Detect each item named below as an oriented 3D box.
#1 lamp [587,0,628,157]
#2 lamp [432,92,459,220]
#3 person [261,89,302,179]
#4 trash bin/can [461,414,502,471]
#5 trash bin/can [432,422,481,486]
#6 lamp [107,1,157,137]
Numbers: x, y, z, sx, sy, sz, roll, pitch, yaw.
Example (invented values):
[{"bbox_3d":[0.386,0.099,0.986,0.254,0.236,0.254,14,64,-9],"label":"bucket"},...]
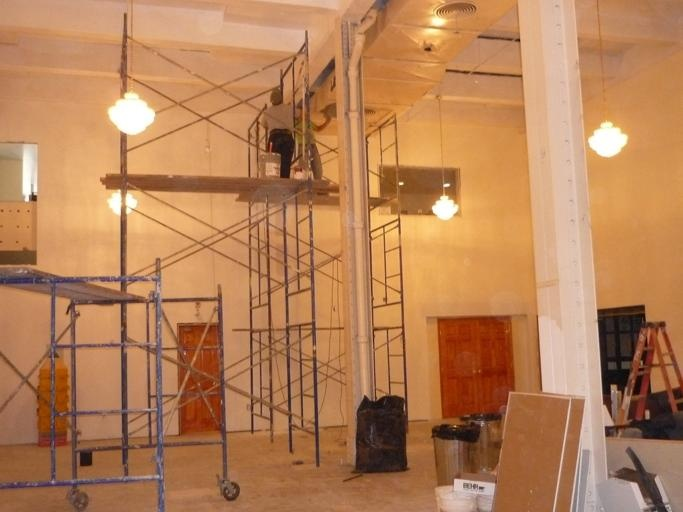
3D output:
[{"bbox_3d":[3.772,-2.553,12.484,0.539,2.201,0.822,-6,-9,28],"label":"lamp"},{"bbox_3d":[1.947,-1.839,16.450,0.519,2.423,1.163,-3,-8,8],"label":"lamp"},{"bbox_3d":[-0.964,-1.940,13.198,0.472,1.586,0.791,-1,-8,-4],"label":"person"},{"bbox_3d":[1.850,2.383,10.835,0.587,0.774,0.568,-1,-3,-13],"label":"trash bin/can"},{"bbox_3d":[1.417,2.430,10.411,0.662,0.777,0.634,2,2,12],"label":"trash bin/can"},{"bbox_3d":[-2.942,-2.623,11.957,0.664,1.792,0.582,0,1,-24],"label":"lamp"}]
